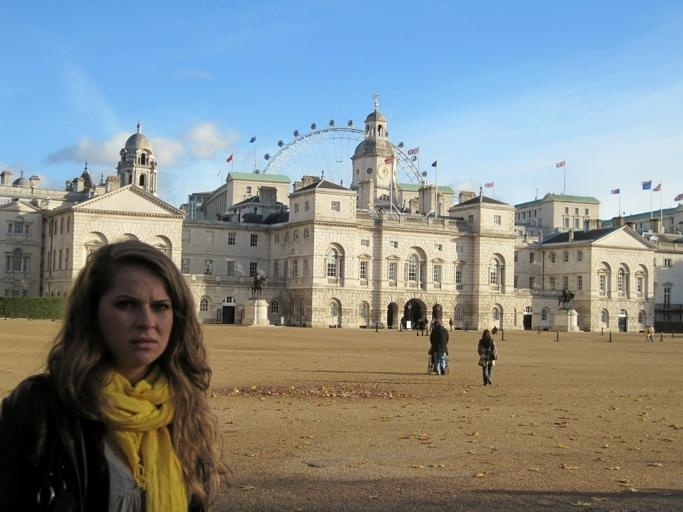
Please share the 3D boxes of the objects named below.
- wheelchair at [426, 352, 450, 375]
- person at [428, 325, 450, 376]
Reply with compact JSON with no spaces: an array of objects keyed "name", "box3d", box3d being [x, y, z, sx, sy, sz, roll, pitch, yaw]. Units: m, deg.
[{"name":"wheelchair","box3d":[3.453,3.925,33.520,0.595,1.061,1.025,1,-13,1]},{"name":"person","box3d":[3.429,3.233,33.395,0.636,1.334,1.378,2,-1,6]}]
